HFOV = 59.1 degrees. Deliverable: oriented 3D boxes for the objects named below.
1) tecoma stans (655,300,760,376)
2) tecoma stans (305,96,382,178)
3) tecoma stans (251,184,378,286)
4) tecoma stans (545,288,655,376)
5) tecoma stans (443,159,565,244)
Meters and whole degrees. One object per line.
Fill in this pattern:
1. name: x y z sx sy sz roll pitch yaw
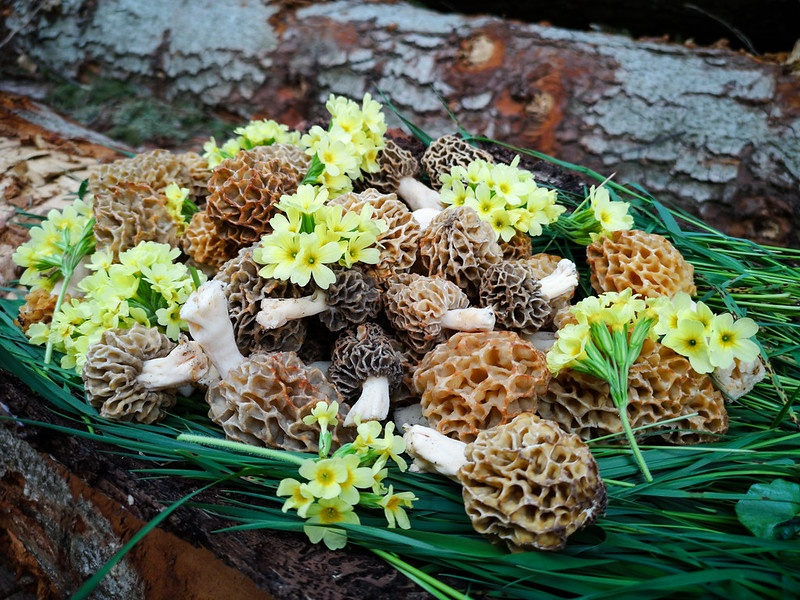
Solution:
1. tecoma stans: 1.022 0.118 2.427 0.346 0.202 0.223 41 75 14
2. tecoma stans: -0.203 -0.700 3.012 0.249 0.274 0.381 -20 118 -41
3. tecoma stans: -0.280 -0.194 2.532 0.407 0.275 0.363 19 70 7
4. tecoma stans: 0.670 0.071 2.487 0.330 0.324 0.277 -13 109 -43
5. tecoma stans: 0.395 -0.410 2.931 0.467 0.368 0.359 -3 100 -11
